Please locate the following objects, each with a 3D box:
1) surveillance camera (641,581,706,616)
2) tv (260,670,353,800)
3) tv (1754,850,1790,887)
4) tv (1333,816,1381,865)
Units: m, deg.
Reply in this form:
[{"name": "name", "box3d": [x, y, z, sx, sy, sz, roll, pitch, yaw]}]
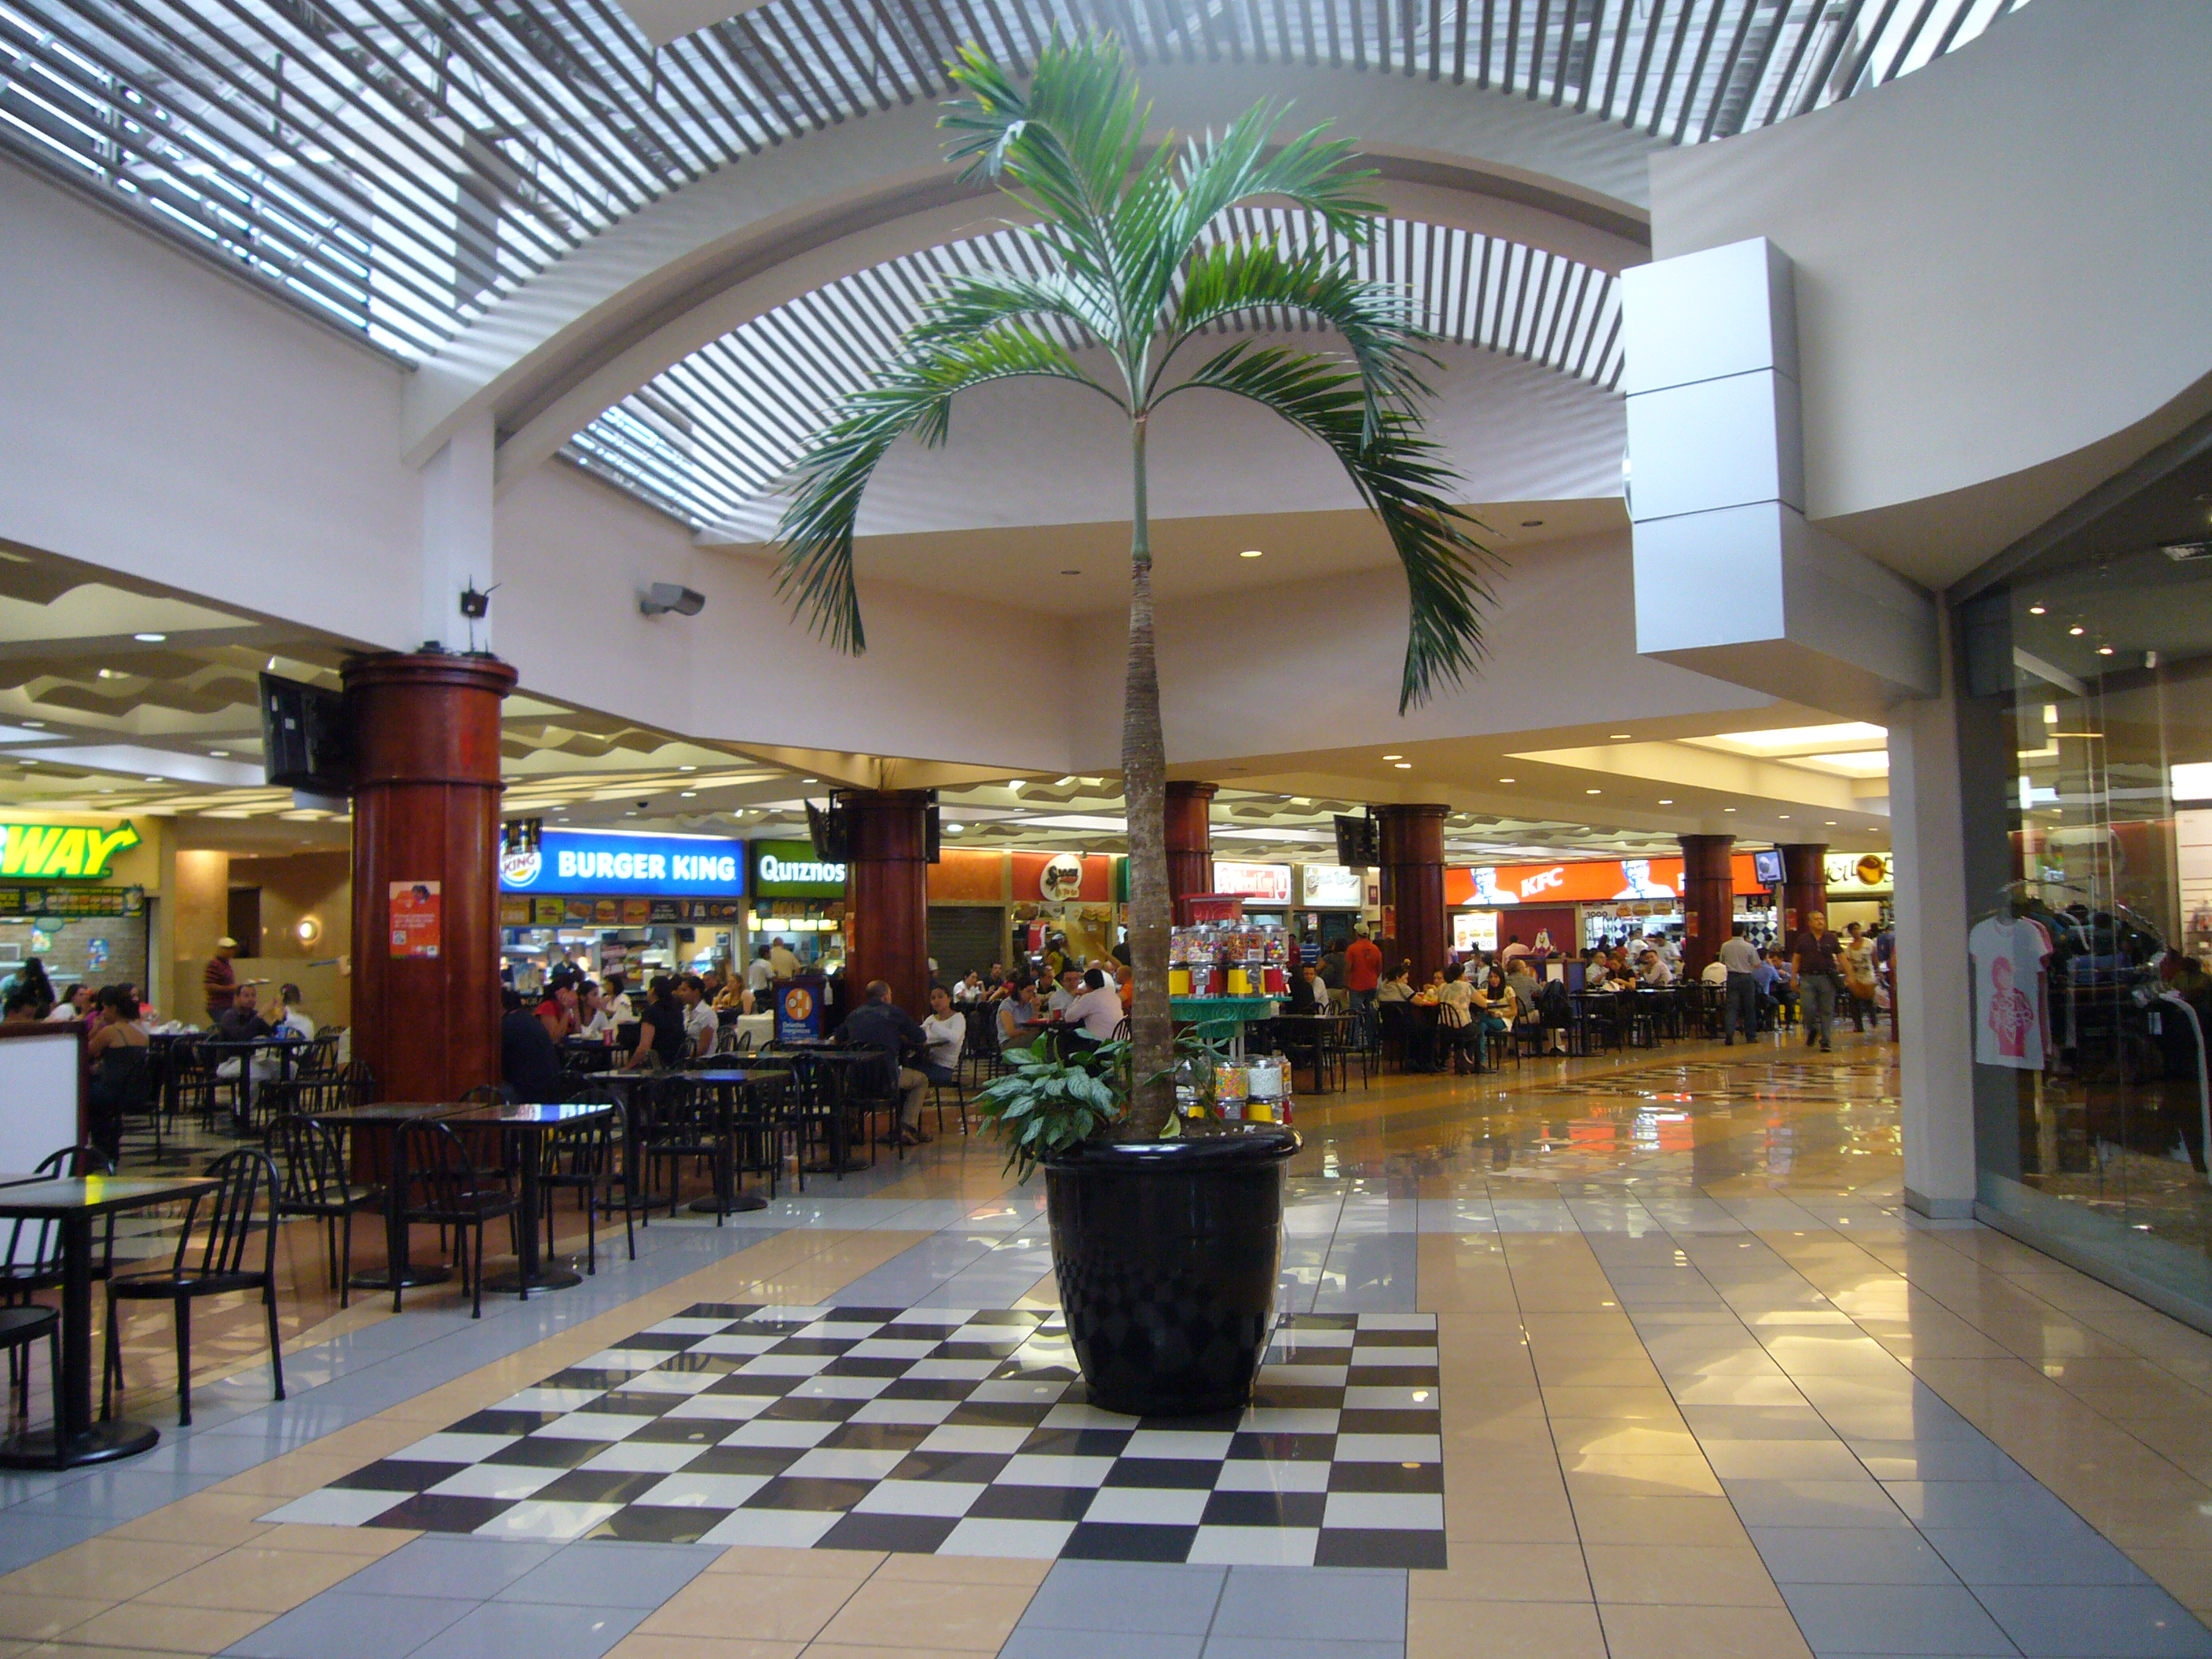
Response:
[{"name": "surveillance camera", "box3d": [-3.408, -1.761, 12.104, 0.501, 0.240, 0.400, -6, -5, 43]}, {"name": "tv", "box3d": [-4.789, -0.566, 9.293, 0.297, 0.663, 0.715, -4, -4, 15]}, {"name": "tv", "box3d": [12.156, 0.557, 28.725, 0.521, 0.994, 0.988, 0, -2, 28]}, {"name": "tv", "box3d": [3.198, 0.149, 20.025, 0.588, 0.782, 0.586, -1, -5, 13]}]
